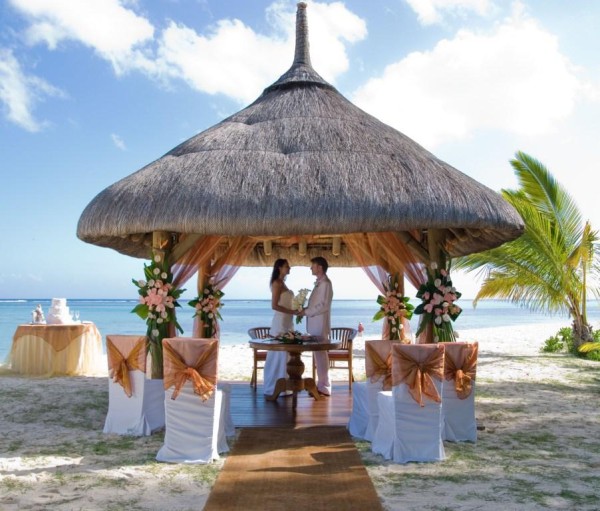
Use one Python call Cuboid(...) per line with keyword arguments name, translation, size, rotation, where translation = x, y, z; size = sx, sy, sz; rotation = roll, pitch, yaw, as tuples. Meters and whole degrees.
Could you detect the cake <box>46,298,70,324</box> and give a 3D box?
Cuboid(name="cake", translation=(-4.412, 1.043, 10.465), size=(0.462, 0.556, 0.473), rotation=(3, -5, -21))
